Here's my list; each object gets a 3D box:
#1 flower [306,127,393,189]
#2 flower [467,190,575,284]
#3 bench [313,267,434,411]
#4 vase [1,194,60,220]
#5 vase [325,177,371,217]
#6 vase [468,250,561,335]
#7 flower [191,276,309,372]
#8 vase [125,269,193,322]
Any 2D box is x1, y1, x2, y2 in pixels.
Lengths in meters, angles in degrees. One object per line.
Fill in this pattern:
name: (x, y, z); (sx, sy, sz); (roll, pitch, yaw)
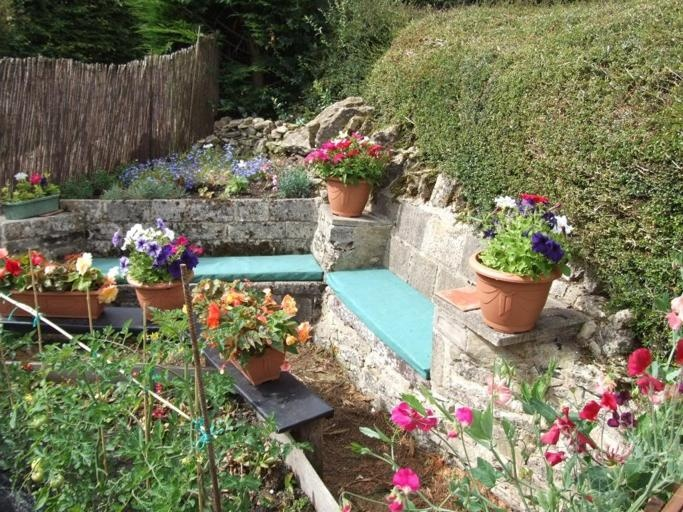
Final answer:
flower: (0.081, -0.956, 5.625); (0.809, 0.438, 0.751); (-26, 28, -35)
flower: (1.127, -0.121, 3.477); (0.542, 0.457, 0.516); (8, -1, 43)
bench: (0.369, 0.593, 4.602); (0.759, 0.719, 1.488); (-14, 24, -24)
vase: (-3.223, -0.502, 5.880); (0.463, 0.185, 0.297); (-9, 11, -42)
vase: (0.069, -0.568, 5.617); (0.488, 0.365, 0.501); (8, 3, 30)
vase: (1.073, 0.230, 3.530); (0.532, 0.420, 0.555); (-6, 19, -20)
flower: (-0.583, 0.430, 3.598); (0.582, 0.344, 0.615); (-13, 51, -31)
vase: (-1.314, 0.278, 4.060); (0.311, 0.250, 0.315); (9, 13, 39)
